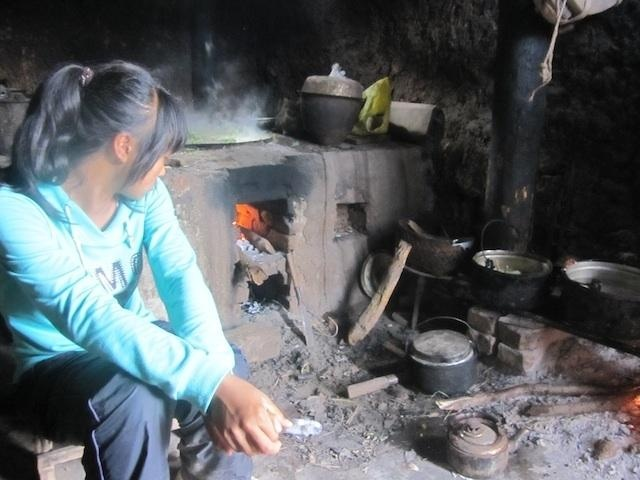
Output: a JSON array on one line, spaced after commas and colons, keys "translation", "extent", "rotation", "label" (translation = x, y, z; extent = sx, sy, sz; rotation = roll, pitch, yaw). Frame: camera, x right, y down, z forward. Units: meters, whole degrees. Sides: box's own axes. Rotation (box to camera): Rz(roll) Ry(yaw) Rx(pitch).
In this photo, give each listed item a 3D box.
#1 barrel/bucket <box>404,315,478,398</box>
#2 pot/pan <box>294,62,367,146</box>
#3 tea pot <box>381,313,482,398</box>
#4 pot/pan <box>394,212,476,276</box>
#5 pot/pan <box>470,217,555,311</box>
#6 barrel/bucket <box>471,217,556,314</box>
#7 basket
[{"translation": [0.801, 0.808, 3.851], "extent": [0.387, 0.312, 0.410], "rotation": [-6, 19, 2], "label": "barrel/bucket"}, {"translation": [0.092, -1.151, 4.776], "extent": [0.568, 0.701, 0.606], "rotation": [8, 16, 12], "label": "pot/pan"}, {"translation": [0.758, 0.788, 3.883], "extent": [0.467, 0.561, 0.503], "rotation": [-7, 10, 1], "label": "tea pot"}, {"translation": [0.846, 0.048, 4.253], "extent": [0.439, 0.237, 0.374], "rotation": [27, 10, 24], "label": "pot/pan"}, {"translation": [1.372, 0.134, 4.043], "extent": [0.487, 0.678, 0.663], "rotation": [-10, 14, -8], "label": "pot/pan"}, {"translation": [1.378, 0.146, 4.022], "extent": [0.459, 0.637, 0.636], "rotation": [-4, 17, -5], "label": "barrel/bucket"}, {"translation": [0.854, 0.023, 4.256], "extent": [0.467, 0.255, 0.447], "rotation": [25, 2, 6], "label": "basket"}]
